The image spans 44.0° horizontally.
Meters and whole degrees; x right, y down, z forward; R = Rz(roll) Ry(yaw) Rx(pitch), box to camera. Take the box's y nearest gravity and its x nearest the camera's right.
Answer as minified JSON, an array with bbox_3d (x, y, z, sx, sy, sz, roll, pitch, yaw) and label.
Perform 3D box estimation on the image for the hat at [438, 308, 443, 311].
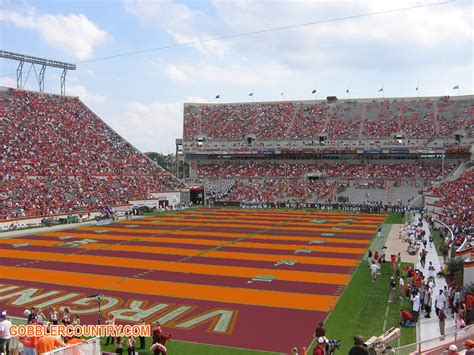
[{"bbox_3d":[9.422,6.048,27.036,0.244,0.123,0.350,-1,-7,12],"label":"hat"}]

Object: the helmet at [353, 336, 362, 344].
[{"bbox_3d":[4.628,6.226,22.477,0.293,0.260,0.223,-8,7,2],"label":"helmet"}]

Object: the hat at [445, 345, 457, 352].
[{"bbox_3d":[7.974,6.379,21.906,0.299,0.205,0.384,1,-1,-29],"label":"hat"}]
